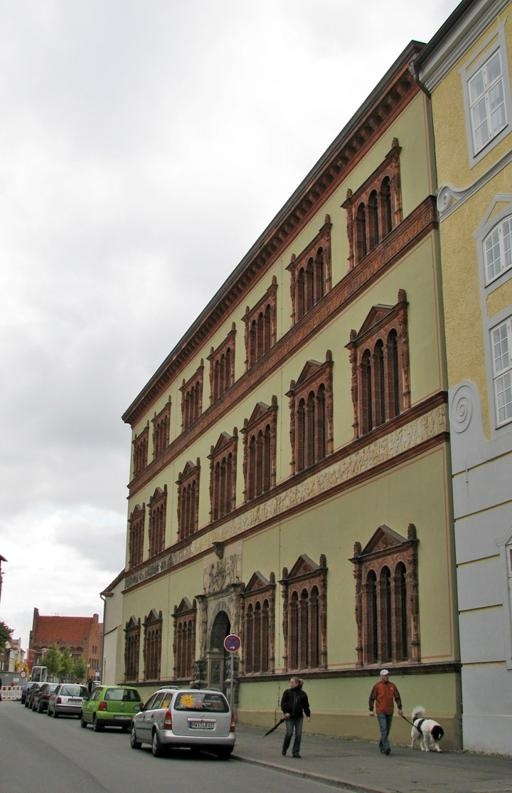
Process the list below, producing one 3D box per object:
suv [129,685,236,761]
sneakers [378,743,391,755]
[{"bbox_3d":[-1.489,6.287,13.410,1.311,1.086,2.391,11,-30,-15],"label":"suv"},{"bbox_3d":[2.172,6.008,11.701,0.105,0.185,0.453,7,-17,-7],"label":"sneakers"}]
